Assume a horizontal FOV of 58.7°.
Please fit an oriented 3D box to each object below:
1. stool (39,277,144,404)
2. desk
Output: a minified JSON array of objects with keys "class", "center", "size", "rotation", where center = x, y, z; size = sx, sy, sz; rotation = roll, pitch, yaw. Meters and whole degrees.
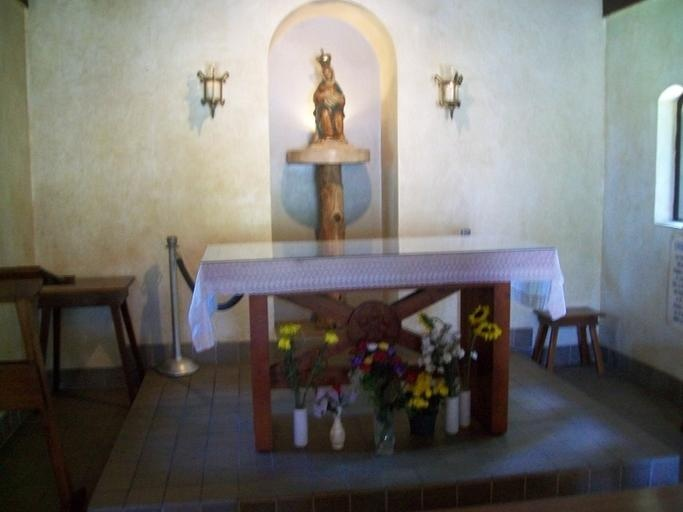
[{"class":"stool","center":[-2.233,0.698,5.808],"size":[0.982,1.352,0.875],"rotation":[0,6,-8]},{"class":"desk","center":[0.261,0.601,4.614],"size":[2.646,1.383,0.689],"rotation":[-2,14,-6]}]
